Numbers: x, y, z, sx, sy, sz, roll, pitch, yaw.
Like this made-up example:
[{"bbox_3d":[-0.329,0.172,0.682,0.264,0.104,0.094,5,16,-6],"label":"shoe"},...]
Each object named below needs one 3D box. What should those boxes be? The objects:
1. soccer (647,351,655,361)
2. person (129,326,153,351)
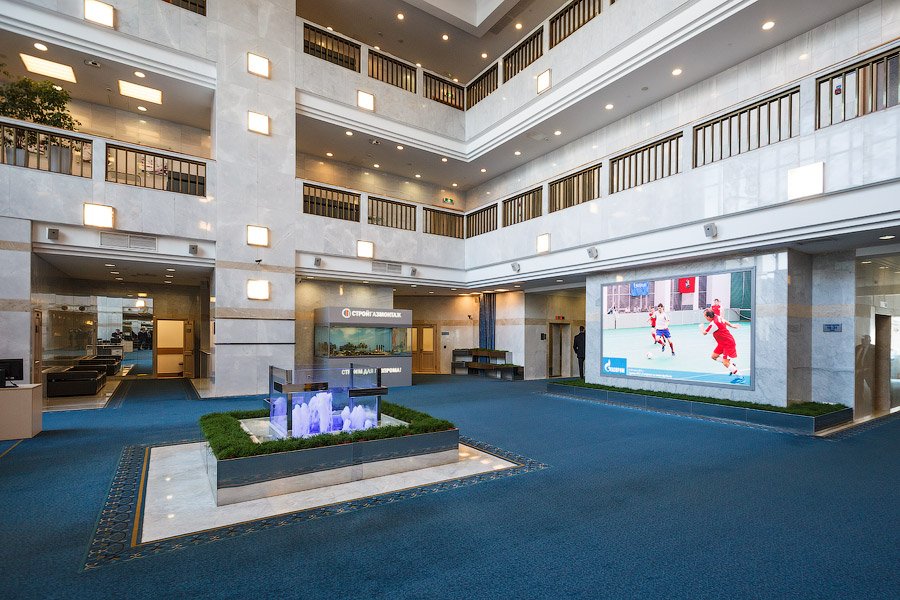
[{"bbox_3d":[6.209,1.742,17.024,0.193,0.180,0.193,-2,-4,29],"label":"soccer"},{"bbox_3d":[-12.087,1.510,21.433,0.540,0.910,1.003,-6,-5,44],"label":"person"}]
